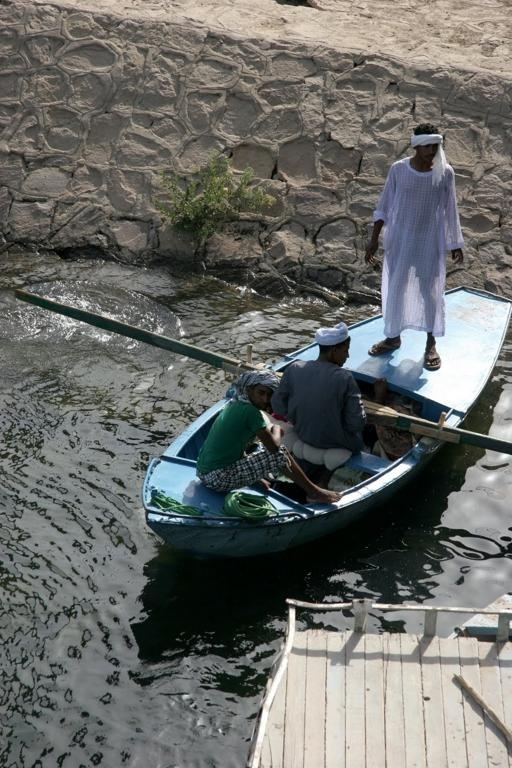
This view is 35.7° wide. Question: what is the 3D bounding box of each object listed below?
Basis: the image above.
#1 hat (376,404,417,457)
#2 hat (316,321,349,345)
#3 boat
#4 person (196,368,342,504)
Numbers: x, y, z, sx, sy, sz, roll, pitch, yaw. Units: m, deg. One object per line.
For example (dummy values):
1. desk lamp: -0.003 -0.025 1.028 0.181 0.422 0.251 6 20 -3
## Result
1. hat: 1.186 0.393 6.667 0.317 0.441 0.113 14 4 27
2. hat: 0.540 -0.347 5.658 0.206 0.168 0.197 -2 16 -18
3. boat: 0.975 0.271 6.217 3.620 0.668 1.424 -29 50 -32
4. person: 0.102 0.345 5.498 1.132 0.794 0.651 5 11 1
